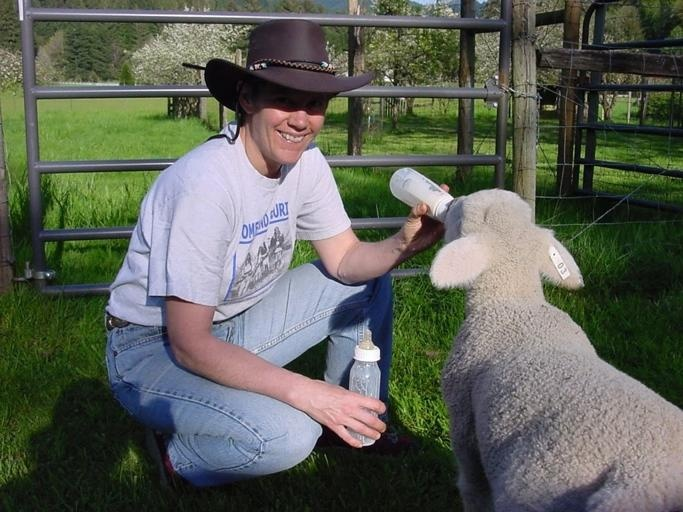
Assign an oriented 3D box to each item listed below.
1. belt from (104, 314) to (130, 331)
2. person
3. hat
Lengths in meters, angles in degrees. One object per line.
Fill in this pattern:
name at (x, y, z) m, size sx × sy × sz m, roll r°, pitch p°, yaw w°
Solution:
belt at (-0.855, 0.254, 2.412) m, size 0.078 × 0.049 × 0.063 m, roll 4°, pitch -5°, yaw 7°
person at (-0.223, 0.059, 2.443) m, size 1.178 × 1.698 × 1.069 m, roll -4°, pitch 14°, yaw -30°
hat at (-0.171, -0.700, 2.351) m, size 0.575 × 0.303 × 0.604 m, roll -4°, pitch 5°, yaw -36°
